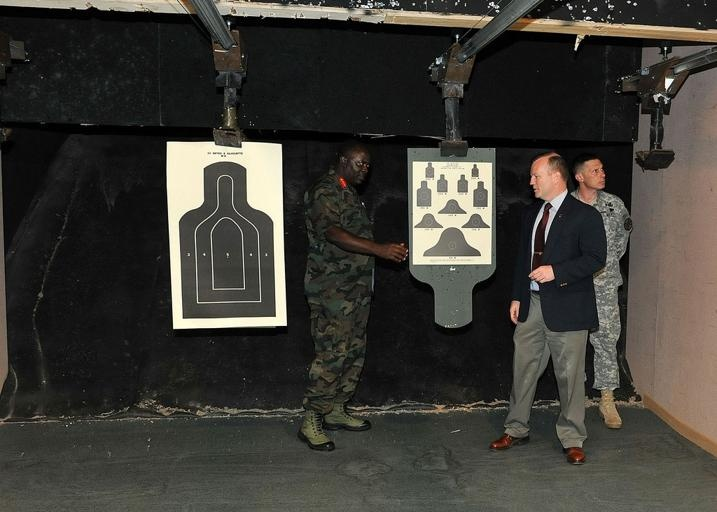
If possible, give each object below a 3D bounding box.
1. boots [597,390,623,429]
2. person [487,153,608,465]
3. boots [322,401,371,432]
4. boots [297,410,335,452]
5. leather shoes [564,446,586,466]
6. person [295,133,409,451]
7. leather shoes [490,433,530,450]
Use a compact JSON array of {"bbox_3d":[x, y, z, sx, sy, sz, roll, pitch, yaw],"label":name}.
[{"bbox_3d":[1.799,1.089,5.806,0.126,0.198,0.343,-7,11,3],"label":"boots"},{"bbox_3d":[1.271,0.339,5.380,0.677,1.998,0.497,1,11,25],"label":"person"},{"bbox_3d":[-0.101,1.150,5.734,0.429,0.227,0.139,-1,0,-3],"label":"boots"},{"bbox_3d":[-0.272,1.179,5.526,0.133,0.266,0.289,-13,33,-43],"label":"boots"},{"bbox_3d":[1.434,1.302,5.336,0.148,0.102,0.140,-3,9,-4],"label":"leather shoes"},{"bbox_3d":[-0.084,0.266,5.554,0.770,2.030,0.521,-4,10,-6],"label":"person"},{"bbox_3d":[1.017,1.267,5.538,0.279,0.101,0.094,-2,7,-16],"label":"leather shoes"}]
